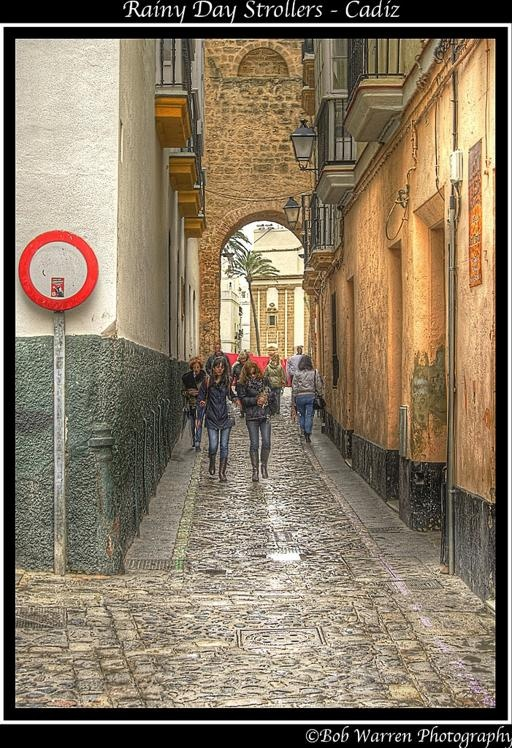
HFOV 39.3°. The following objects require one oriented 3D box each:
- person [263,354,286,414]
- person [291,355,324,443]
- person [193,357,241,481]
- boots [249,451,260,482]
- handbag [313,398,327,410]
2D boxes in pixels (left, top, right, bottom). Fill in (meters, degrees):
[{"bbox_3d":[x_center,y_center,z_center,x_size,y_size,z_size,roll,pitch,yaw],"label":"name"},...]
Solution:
[{"bbox_3d":[0.601,0.237,22.485,0.550,2.054,0.543,1,26,3],"label":"person"},{"bbox_3d":[1.180,0.580,16.648,0.665,2.062,1.525,-1,2,3],"label":"person"},{"bbox_3d":[-0.606,0.711,11.426,0.566,1.969,0.919,-1,2,-5],"label":"person"},{"bbox_3d":[-0.014,1.469,11.380,0.123,0.454,0.279,-1,2,-4],"label":"boots"},{"bbox_3d":[1.420,0.639,16.108,0.217,0.283,0.414,-1,2,10],"label":"handbag"}]
